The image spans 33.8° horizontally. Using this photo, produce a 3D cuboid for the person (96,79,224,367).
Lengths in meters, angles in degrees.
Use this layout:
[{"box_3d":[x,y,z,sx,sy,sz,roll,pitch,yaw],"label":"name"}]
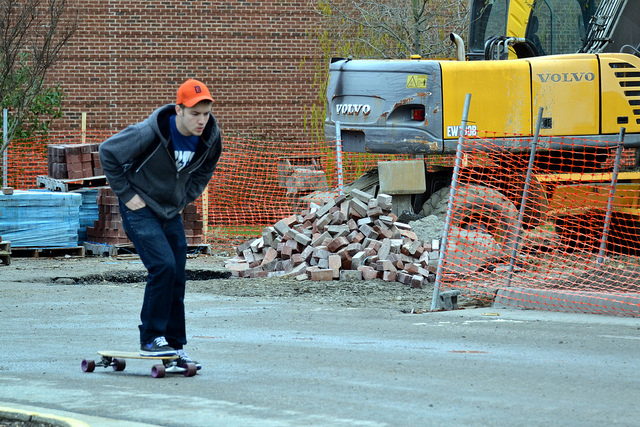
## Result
[{"box_3d":[-1.842,0.084,12.194,1.355,3.189,0.751,-3,9,-12],"label":"person"}]
